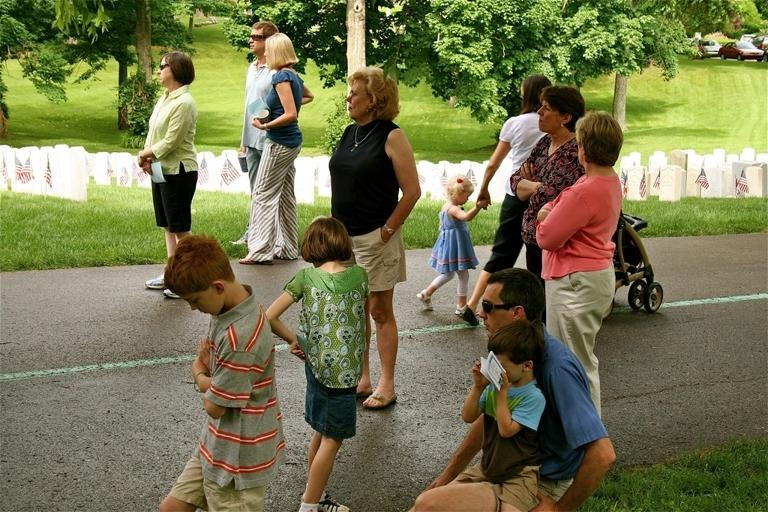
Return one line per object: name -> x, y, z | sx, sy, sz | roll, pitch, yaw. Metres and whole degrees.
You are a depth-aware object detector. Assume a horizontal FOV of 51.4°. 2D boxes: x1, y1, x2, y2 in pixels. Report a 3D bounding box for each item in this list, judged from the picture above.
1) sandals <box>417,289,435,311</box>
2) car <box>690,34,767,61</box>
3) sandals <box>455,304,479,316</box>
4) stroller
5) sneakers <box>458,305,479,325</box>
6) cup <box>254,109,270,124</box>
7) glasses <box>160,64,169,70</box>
sandals -> 0.483, 0.537, 9.449 | 0.153, 0.325, 0.111 | -26, 46, 9
car -> 28.914, -16.805, 65.450 | 2.775, 2.107, 6.018 | -8, 12, -35
sandals -> 0.904, 0.622, 9.074 | 0.263, 0.114, 0.098 | -3, -3, 31
stroller -> 2.953, 0.036, 9.772 | 0.955, 1.128, 0.890 | -2, -1, 25
sneakers -> 0.950, 0.686, 8.999 | 0.321, 0.136, 0.114 | 44, 7, -47
cup -> -1.595, -1.828, 10.411 | 0.245, 0.159, 0.171 | -3, -21, 6
glasses -> -2.560, -2.179, 9.228 | 0.079, 0.027, 0.081 | 2, 4, 45
